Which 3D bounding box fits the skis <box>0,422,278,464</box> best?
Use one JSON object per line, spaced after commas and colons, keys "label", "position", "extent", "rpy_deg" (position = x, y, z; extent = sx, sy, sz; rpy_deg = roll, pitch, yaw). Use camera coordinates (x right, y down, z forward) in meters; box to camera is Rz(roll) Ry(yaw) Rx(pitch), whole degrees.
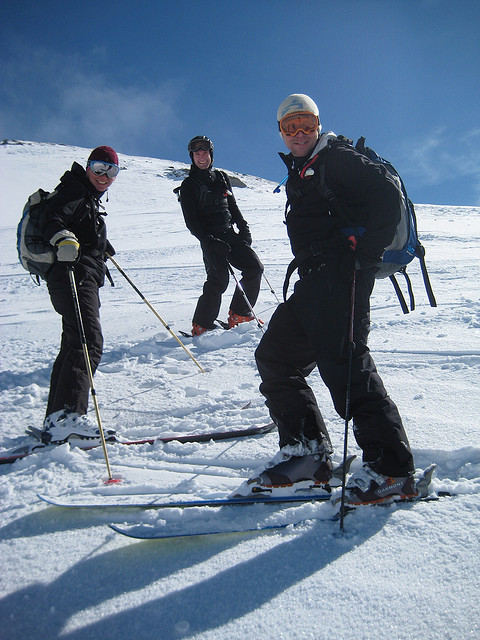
{"label": "skis", "position": [-0.605, 0.762, 3.498], "extent": [1.799, 0.119, 0.176], "rpy_deg": [-5, 1, 5]}

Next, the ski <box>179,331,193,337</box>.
{"label": "ski", "position": [-0.586, 0.149, 6.202], "extent": [0.090, 0.044, 0.195], "rpy_deg": [-9, 14, -18]}

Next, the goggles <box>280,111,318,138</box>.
{"label": "goggles", "position": [0.313, -1.054, 3.039], "extent": [0.145, 0.144, 0.084], "rpy_deg": [-7, 22, 7]}

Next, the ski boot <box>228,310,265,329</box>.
{"label": "ski boot", "position": [0.071, -0.017, 6.470], "extent": [0.401, 0.240, 0.122], "rpy_deg": [-7, 34, 3]}

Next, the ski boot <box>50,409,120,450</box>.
{"label": "ski boot", "position": [-0.988, 0.690, 3.559], "extent": [0.595, 0.153, 0.229], "rpy_deg": [1, 17, 10]}

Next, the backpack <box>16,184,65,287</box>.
{"label": "backpack", "position": [-1.231, -0.549, 3.814], "extent": [0.339, 0.517, 0.433], "rpy_deg": [4, 9, 14]}

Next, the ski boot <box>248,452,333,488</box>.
{"label": "ski boot", "position": [0.215, 0.731, 2.812], "extent": [0.482, 0.177, 0.150], "rpy_deg": [0, -8, -9]}

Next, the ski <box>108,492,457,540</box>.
{"label": "ski", "position": [0.237, 0.905, 2.612], "extent": [1.910, 0.093, 0.191], "rpy_deg": [-2, -2, -4]}

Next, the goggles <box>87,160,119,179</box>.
{"label": "goggles", "position": [-0.939, -1.057, 3.960], "extent": [0.155, 0.063, 0.157], "rpy_deg": [2, 22, -45]}

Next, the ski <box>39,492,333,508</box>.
{"label": "ski", "position": [-0.221, 0.887, 2.800], "extent": [1.181, 0.051, 0.124], "rpy_deg": [0, -5, 2]}

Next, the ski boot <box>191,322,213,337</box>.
{"label": "ski boot", "position": [-0.411, 0.097, 6.228], "extent": [0.171, 0.139, 0.120], "rpy_deg": [11, 6, -13]}

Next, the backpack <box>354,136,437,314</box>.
{"label": "backpack", "position": [0.799, -0.468, 2.912], "extent": [0.366, 0.941, 0.609], "rpy_deg": [-2, 15, 17]}

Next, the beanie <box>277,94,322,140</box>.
{"label": "beanie", "position": [0.316, -1.106, 3.063], "extent": [0.217, 0.211, 0.142], "rpy_deg": [-4, 14, 4]}

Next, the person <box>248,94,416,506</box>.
{"label": "person", "position": [0.446, -0.172, 2.862], "extent": [0.848, 1.945, 0.970], "rpy_deg": [-2, 15, 16]}
